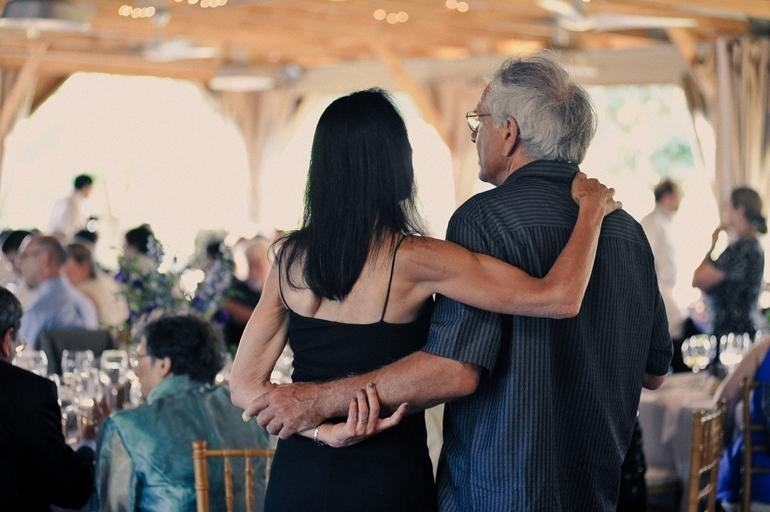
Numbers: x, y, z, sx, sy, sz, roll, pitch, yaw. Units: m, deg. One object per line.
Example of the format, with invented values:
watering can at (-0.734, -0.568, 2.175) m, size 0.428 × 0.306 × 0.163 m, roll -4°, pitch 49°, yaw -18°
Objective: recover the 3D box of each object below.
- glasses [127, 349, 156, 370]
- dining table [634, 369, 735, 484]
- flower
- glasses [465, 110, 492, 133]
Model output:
glasses at (-1.267, 0.533, 5.440) m, size 0.137 × 0.045 × 0.134 m, roll 8°, pitch -14°, yaw -26°
dining table at (1.866, 1.071, 6.690) m, size 0.635 × 0.407 × 0.628 m, roll -1°, pitch 1°, yaw -35°
flower at (-1.305, 0.031, 6.512) m, size 0.834 × 1.073 × 1.010 m, roll 4°, pitch -11°, yaw -13°
glasses at (0.407, -0.604, 4.490) m, size 0.097 × 0.035 × 0.095 m, roll 1°, pitch -1°, yaw -16°
